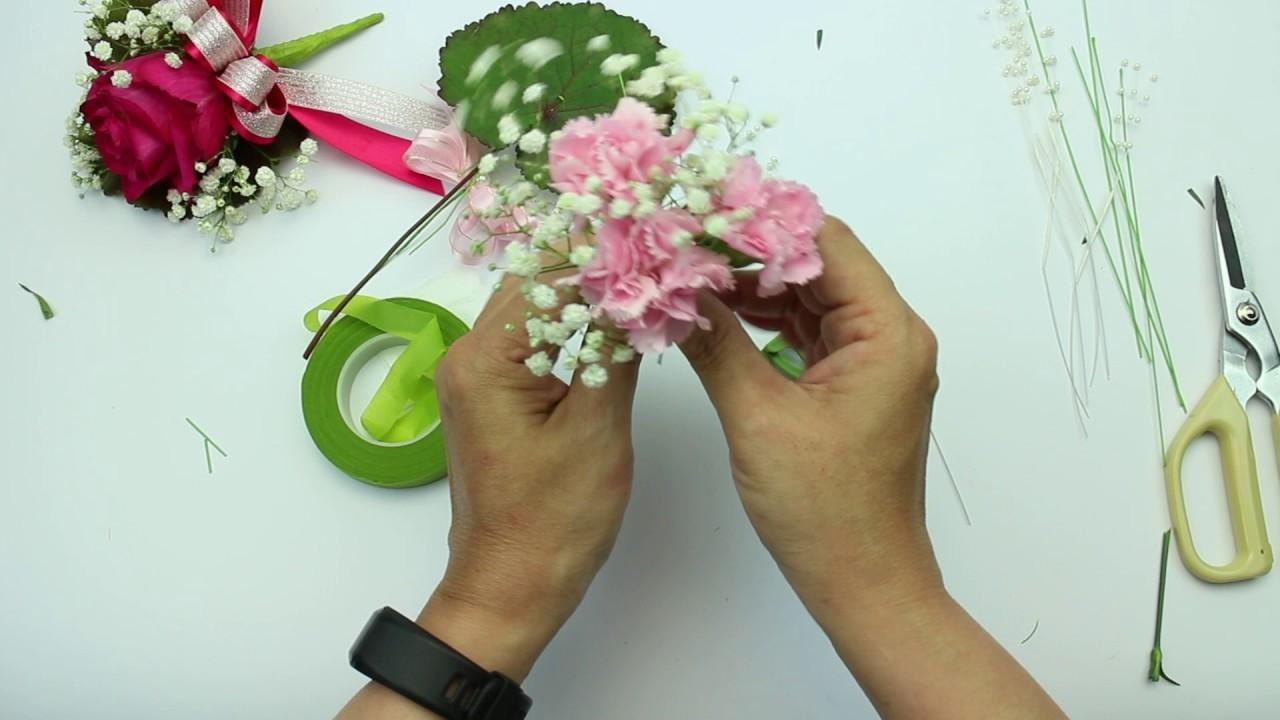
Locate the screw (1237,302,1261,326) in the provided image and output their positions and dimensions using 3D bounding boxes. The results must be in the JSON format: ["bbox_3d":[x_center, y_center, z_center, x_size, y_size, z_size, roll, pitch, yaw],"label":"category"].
[{"bbox_3d":[1.284,-0.097,2.170,0.048,0.044,0.012,-3,-2,9],"label":"screw"}]

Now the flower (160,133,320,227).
[{"bbox_3d":[-0.860,-0.374,2.246,0.277,0.207,0.108,-49,7,-6],"label":"flower"}]

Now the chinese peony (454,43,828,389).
[{"bbox_3d":[0.036,-0.260,1.984,0.746,0.623,0.536,9,32,18],"label":"chinese peony"}]
